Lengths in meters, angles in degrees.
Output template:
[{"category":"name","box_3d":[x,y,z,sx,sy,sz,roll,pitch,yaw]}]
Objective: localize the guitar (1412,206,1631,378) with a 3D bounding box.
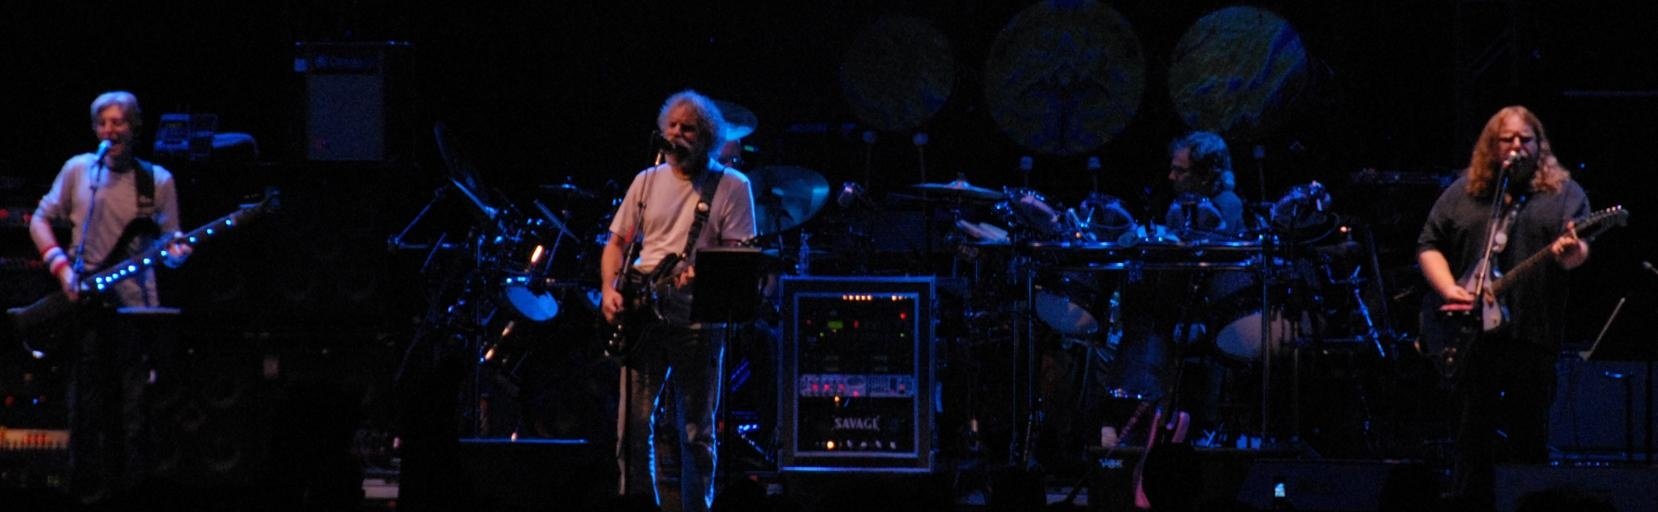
[{"category":"guitar","box_3d":[11.296,0.590,22.339,4.145,1.350,0.586,-32,-27,16]}]

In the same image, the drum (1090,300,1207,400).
[{"category":"drum","box_3d":[5.541,1.659,23.529,1.685,1.682,0.508,1,-13,9]}]

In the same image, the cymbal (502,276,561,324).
[{"category":"cymbal","box_3d":[-5.152,0.746,23.817,0.973,0.722,0.469,12,-15,-43]}]

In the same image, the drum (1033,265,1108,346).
[{"category":"drum","box_3d":[4.110,0.838,23.477,1.280,1.130,0.350,6,-13,-17]}]

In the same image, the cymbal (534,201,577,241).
[{"category":"cymbal","box_3d":[-4.888,-0.639,24.504,0.869,0.798,1.110,4,-10,-11]}]

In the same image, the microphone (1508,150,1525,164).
[{"category":"microphone","box_3d":[10.985,-1.574,21.812,0.295,0.180,0.226,4,-6,24]}]

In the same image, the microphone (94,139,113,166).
[{"category":"microphone","box_3d":[-12.045,-1.708,22.636,0.346,0.432,0.229,12,0,-15]}]
